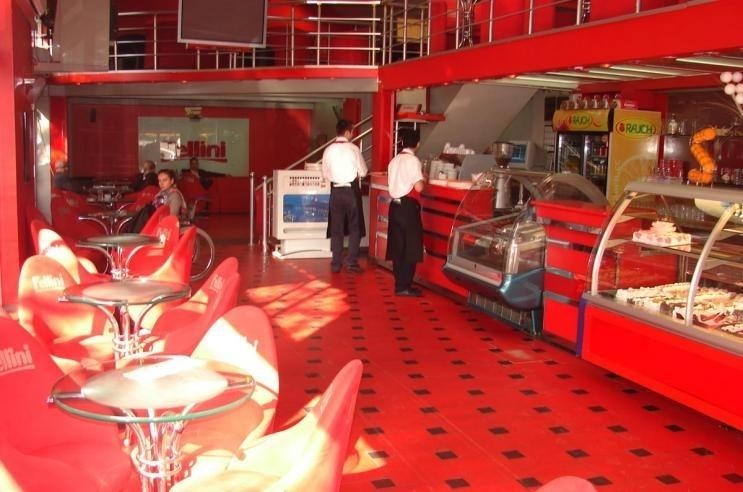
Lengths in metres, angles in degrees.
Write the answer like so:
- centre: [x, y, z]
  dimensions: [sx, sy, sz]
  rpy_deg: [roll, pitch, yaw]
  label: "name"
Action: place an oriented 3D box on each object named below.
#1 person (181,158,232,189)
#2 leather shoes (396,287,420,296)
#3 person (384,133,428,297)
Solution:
- centre: [-4.641, -1.932, 15.636]
  dimensions: [1.256, 0.445, 0.750]
  rpy_deg: [-3, 13, -25]
  label: "person"
- centre: [0.509, 0.607, 7.903]
  dimensions: [0.285, 0.102, 0.130]
  rpy_deg: [-1, 2, -10]
  label: "leather shoes"
- centre: [0.461, -0.440, 7.888]
  dimensions: [0.499, 2.179, 0.581]
  rpy_deg: [1, 13, 4]
  label: "person"
